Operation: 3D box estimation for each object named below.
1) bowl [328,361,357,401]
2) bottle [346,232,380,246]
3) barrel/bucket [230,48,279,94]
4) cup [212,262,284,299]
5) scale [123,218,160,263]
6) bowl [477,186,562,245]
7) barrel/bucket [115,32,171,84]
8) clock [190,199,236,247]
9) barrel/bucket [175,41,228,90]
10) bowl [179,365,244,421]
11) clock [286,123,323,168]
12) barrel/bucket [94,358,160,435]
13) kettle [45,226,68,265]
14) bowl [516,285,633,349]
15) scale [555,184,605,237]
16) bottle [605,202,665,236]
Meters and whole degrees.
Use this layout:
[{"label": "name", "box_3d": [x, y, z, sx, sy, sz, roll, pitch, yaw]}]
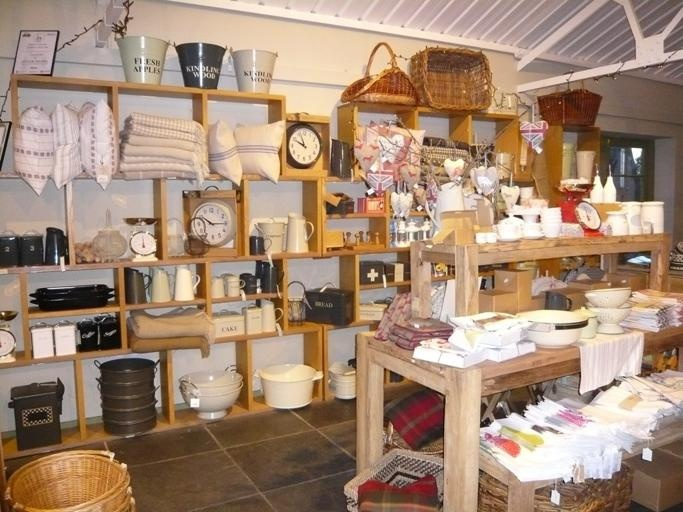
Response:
[{"label": "bowl", "box_3d": [-0.011, 1.179, 5.111, 0.269, 0.221, 0.291, -1, 0, 0]}, {"label": "bottle", "box_3d": [0.178, -0.164, 5.316, 0.202, 0.081, 0.196, 0, 1, 0]}, {"label": "barrel/bucket", "box_3d": [-0.746, -1.582, 4.638, 0.395, 0.351, 0.411, 2, 7, 0]}, {"label": "cup", "box_3d": [-0.747, 0.217, 4.893, 0.415, 0.301, 0.325, 2, -3, -29]}, {"label": "scale", "box_3d": [-1.640, -0.137, 4.392, 0.353, 0.407, 0.332, -3, 5, -45]}, {"label": "bowl", "box_3d": [1.072, -0.250, 3.316, 0.400, 0.242, 0.395, -2, 4, 0]}, {"label": "barrel/bucket", "box_3d": [-1.551, -1.533, 4.302, 0.408, 0.294, 0.380, 2, 6, 0]}, {"label": "clock", "box_3d": [-1.105, -0.273, 4.597, 0.387, 0.377, 0.377, -1, -6, -10]}, {"label": "barrel/bucket", "box_3d": [-1.186, -1.530, 4.538, 0.409, 0.331, 0.399, 1, 6, 0]}, {"label": "bowl", "box_3d": [-1.157, 1.163, 4.646, 0.458, 0.295, 0.408, -2, 1, -43]}, {"label": "clock", "box_3d": [-0.359, -0.992, 4.865, 0.422, 0.407, 0.112, 8, -8, -41]}, {"label": "barrel/bucket", "box_3d": [-1.743, 1.144, 4.419, 0.422, 0.543, 0.342, -3, 15, -17]}, {"label": "kettle", "box_3d": [-2.205, -0.073, 4.152, 0.173, 0.266, 0.191, -2, 15, -16]}, {"label": "bowl", "box_3d": [1.354, 0.338, 3.191, 0.682, 0.271, 0.338, -1, -1, -27]}, {"label": "scale", "box_3d": [1.566, -0.306, 3.700, 0.344, 0.413, 0.338, -2, 0, -34]}, {"label": "bottle", "box_3d": [1.982, -0.249, 3.674, 0.403, 0.188, 0.252, 0, 2, -4]}]
